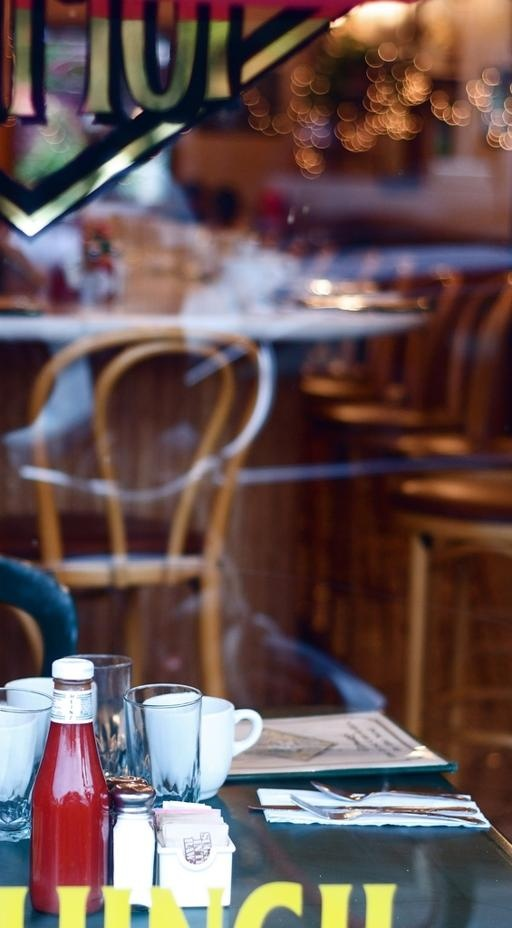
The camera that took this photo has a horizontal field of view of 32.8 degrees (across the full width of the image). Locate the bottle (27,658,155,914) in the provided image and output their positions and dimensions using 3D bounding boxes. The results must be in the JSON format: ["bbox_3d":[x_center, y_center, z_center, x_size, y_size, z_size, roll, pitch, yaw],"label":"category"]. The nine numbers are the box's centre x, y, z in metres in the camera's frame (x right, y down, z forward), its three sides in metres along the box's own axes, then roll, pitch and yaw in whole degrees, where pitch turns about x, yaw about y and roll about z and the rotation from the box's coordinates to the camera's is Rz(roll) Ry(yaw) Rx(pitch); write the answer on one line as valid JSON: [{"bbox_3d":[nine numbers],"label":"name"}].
[{"bbox_3d":[-0.091,0.168,0.458,0.054,0.127,0.075,-2,14,-23],"label":"bottle"}]

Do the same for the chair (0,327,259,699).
[{"bbox_3d":[-0.240,0.093,1.782,0.456,0.734,0.736,4,13,3],"label":"chair"}]
